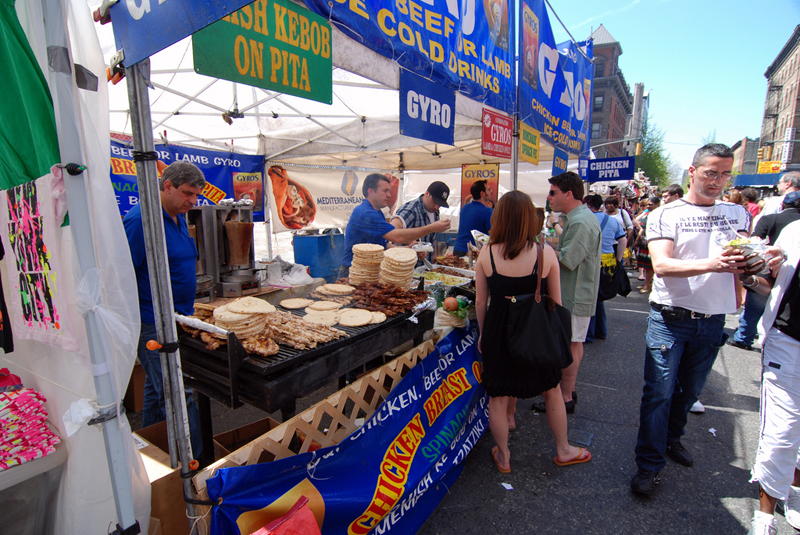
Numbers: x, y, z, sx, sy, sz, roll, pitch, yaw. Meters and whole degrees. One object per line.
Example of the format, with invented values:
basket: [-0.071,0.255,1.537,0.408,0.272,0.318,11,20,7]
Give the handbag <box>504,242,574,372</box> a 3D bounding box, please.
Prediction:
handbag: [1.220,0.278,4.467,0.443,1.103,0.379,3,5,26]

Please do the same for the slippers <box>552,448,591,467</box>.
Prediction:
slippers: [1.659,1.826,4.994,0.300,0.080,0.149,-8,6,8]

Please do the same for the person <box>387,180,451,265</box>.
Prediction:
person: [0.213,-0.550,7.046,1.338,1.269,0.644,0,27,-5]

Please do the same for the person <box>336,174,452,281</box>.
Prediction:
person: [-0.157,-0.539,6.070,0.640,1.999,0.710,3,5,38]

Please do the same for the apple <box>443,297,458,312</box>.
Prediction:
apple: [0.510,0.375,5.223,0.148,0.136,0.100,-2,12,-11]
